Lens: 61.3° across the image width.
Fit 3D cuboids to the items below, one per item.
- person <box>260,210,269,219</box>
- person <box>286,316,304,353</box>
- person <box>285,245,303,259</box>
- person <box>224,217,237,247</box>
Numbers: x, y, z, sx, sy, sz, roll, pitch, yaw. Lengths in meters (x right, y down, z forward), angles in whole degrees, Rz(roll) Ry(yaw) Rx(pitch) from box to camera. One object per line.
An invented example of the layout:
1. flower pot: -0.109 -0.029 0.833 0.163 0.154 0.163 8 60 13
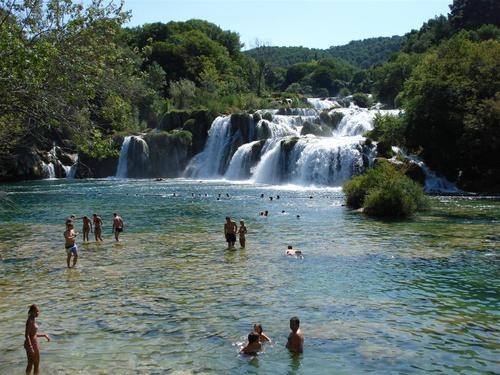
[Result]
1. person: 1.314 2.071 32.490 0.393 0.564 1.183 0 -6 4
2. person: 1.395 4.436 12.988 0.545 1.005 0.738 1 12 7
3. person: 2.192 3.260 21.272 0.498 0.335 0.734 3 4 -11
4. person: -1.049 2.482 23.361 0.625 1.740 1.115 -1 12 -3
